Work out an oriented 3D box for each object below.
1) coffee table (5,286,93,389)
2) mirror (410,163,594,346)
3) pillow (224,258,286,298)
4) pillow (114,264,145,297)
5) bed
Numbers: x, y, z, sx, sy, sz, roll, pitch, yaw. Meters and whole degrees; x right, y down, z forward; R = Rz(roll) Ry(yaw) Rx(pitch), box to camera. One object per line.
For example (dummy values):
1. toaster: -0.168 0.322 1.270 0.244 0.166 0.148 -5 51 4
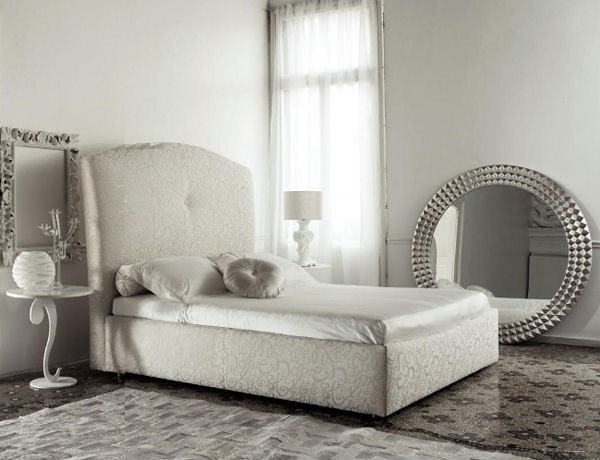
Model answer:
1. coffee table: -1.762 0.699 3.602 0.648 0.776 0.679 1 1 22
2. mirror: 1.929 0.227 4.382 1.688 1.770 0.087 0 -2 25
3. pillow: -0.362 0.354 3.546 0.437 0.156 0.490 15 24 6
4. pillow: -1.311 0.378 3.651 0.142 0.152 0.179 -43 -12 25
5. bed: -0.145 0.042 3.879 2.629 1.761 1.871 -2 8 36
